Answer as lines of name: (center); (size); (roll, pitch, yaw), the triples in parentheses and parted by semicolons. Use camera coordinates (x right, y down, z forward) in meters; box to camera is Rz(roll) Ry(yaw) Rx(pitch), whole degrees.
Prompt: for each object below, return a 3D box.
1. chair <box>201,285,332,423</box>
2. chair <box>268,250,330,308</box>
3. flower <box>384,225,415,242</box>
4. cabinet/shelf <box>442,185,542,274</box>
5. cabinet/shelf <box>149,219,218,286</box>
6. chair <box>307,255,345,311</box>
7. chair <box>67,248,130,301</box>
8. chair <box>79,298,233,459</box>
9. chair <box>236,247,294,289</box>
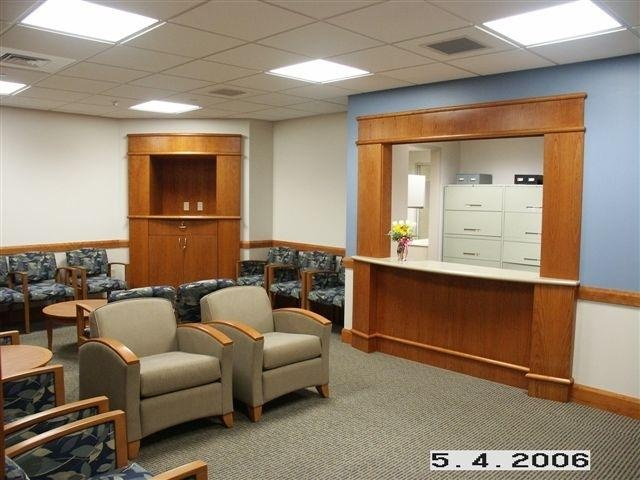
chair: (-0.568, 1.035, 4.736); (1.199, 1.247, 1.296); (-3, 3, -43)
chair: (-0.338, 0.657, 7.316); (0.986, 1.127, 0.996); (0, 0, 40)
flower: (1.064, -0.082, 5.573); (0.238, 0.181, 0.229); (-1, 0, -31)
cabinet/shelf: (2.773, -0.172, 6.814); (1.492, 1.342, 0.523); (2, 2, 39)
cabinet/shelf: (-2.614, 0.174, 8.219); (1.388, 1.180, 0.514); (0, -1, -3)
chair: (0.175, 0.637, 6.787); (0.687, 0.838, 0.767); (-2, -4, 39)
chair: (-3.683, 0.630, 7.643); (0.967, 1.078, 1.011); (-2, 2, -45)
chair: (-1.460, 1.101, 4.101); (1.190, 1.229, 1.299); (0, -1, -41)
chair: (-1.012, 0.446, 7.771); (0.846, 0.951, 0.777); (0, 1, -44)
